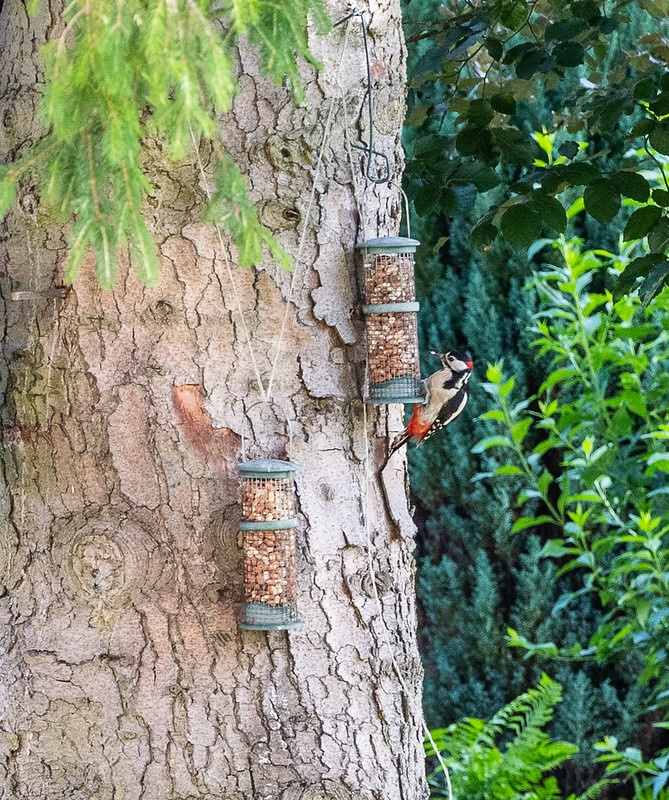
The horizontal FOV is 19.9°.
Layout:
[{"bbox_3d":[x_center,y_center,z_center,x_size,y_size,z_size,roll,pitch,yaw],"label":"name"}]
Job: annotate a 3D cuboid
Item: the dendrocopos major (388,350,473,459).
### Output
[{"bbox_3d":[0.326,0.022,6.485,0.233,0.312,0.435,6,-3,6],"label":"dendrocopos major"}]
